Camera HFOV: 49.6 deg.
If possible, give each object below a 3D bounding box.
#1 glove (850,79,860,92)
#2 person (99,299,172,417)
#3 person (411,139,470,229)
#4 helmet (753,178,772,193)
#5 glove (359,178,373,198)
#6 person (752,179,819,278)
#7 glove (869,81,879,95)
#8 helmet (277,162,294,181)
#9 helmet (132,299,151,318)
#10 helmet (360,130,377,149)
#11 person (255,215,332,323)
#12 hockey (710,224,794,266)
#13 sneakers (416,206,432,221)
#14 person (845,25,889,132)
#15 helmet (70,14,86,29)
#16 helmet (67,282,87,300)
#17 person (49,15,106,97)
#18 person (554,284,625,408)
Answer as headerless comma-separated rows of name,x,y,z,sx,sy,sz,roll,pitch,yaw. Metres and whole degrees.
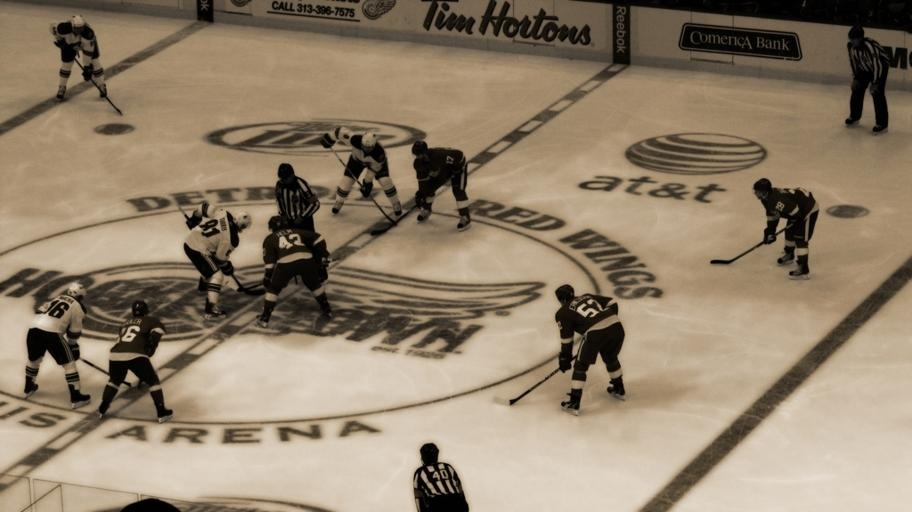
glove,8.590,-3.695,21.292,0.179,0.205,0.062,1,3,31
person,-5.053,1.649,15.533,1.074,1.786,0.764,-1,24,-1
person,-0.278,-1.394,19.237,1.100,1.701,0.600,1,24,3
helmet,5.458,-1.245,17.716,0.327,0.224,0.366,-3,14,1
glove,-1.833,-1.391,20.174,0.277,0.351,0.372,8,37,0
person,5.968,-0.419,18.027,1.529,1.943,0.887,-7,42,19
glove,8.888,-3.570,21.085,0.213,0.225,0.075,0,11,10
helmet,-3.061,-1.537,18.023,0.226,0.277,0.329,20,29,40
helmet,-5.081,0.864,15.911,0.258,0.252,0.275,1,30,12
helmet,-1.705,-2.269,19.268,0.347,0.320,0.413,5,11,-3
person,-2.898,0.186,17.444,1.268,1.777,1.250,-3,23,-6
hockey,5.513,-0.168,18.411,1.457,0.188,0.207,-28,34,-30
sneakers,-0.665,-0.841,19.677,0.156,0.144,0.403,5,17,12
person,8.810,-3.768,21.200,1.100,2.200,0.519,10,26,22
helmet,-8.768,-5.422,22.917,0.299,0.250,0.322,-7,22,-17
helmet,-6.275,0.588,16.344,0.259,0.250,0.310,15,18,25
person,-8.956,-4.649,23.306,1.209,1.978,0.772,-2,24,-4
person,2.096,1.449,15.455,1.102,1.936,0.796,-1,24,-1
